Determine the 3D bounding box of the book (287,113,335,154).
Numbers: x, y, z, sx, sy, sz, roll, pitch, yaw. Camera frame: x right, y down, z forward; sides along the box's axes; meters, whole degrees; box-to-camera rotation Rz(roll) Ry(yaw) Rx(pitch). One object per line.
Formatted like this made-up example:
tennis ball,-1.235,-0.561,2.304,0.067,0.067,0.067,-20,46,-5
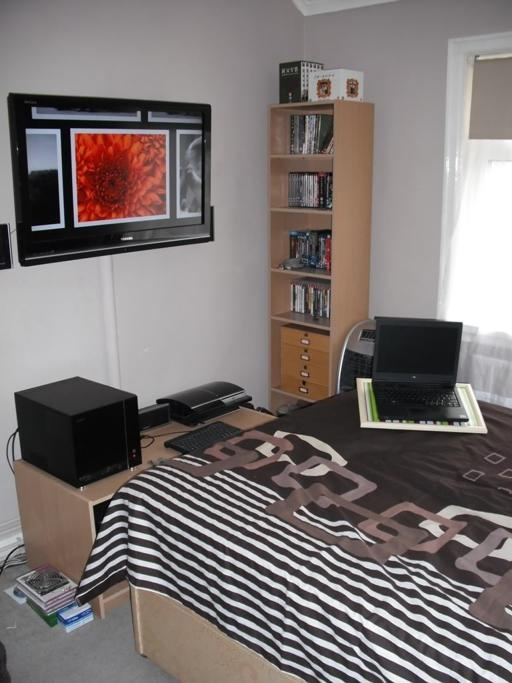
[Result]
book,0.347,-1.281,3.141,0.164,0.304,0.292,-13,18,-38

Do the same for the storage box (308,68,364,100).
storage box,0.472,-1.485,2.992,0.330,0.217,0.292,0,10,5

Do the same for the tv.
tv,-0.568,-0.713,2.207,0.192,0.721,1.056,5,12,36

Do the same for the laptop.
laptop,0.656,0.099,2.174,0.412,0.464,0.370,4,14,4

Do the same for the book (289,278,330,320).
book,0.369,-0.285,3.435,0.110,0.213,0.205,-16,24,-37

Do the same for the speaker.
speaker,-0.718,0.298,2.101,0.440,0.383,0.321,11,18,40

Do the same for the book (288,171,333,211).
book,0.338,-0.953,3.233,0.064,0.253,0.451,-8,12,-37
